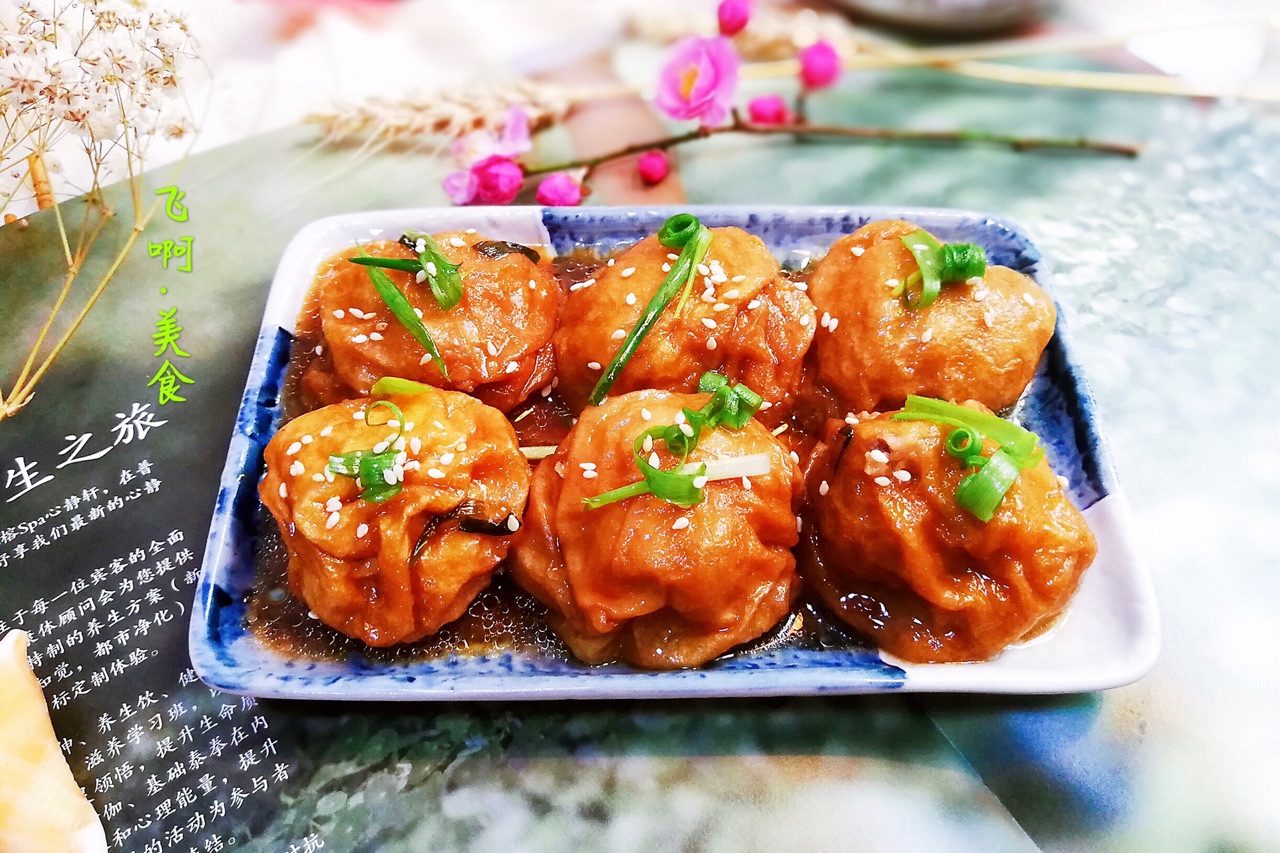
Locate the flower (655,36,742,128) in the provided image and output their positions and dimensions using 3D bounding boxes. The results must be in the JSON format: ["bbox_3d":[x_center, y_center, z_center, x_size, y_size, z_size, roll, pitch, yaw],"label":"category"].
[{"bbox_3d":[0.365,-2.113,6.491,0.501,0.242,0.543,-17,68,33],"label":"flower"}]

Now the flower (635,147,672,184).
[{"bbox_3d":[0.084,-1.599,6.564,0.216,0.212,0.245,-2,87,1],"label":"flower"}]
